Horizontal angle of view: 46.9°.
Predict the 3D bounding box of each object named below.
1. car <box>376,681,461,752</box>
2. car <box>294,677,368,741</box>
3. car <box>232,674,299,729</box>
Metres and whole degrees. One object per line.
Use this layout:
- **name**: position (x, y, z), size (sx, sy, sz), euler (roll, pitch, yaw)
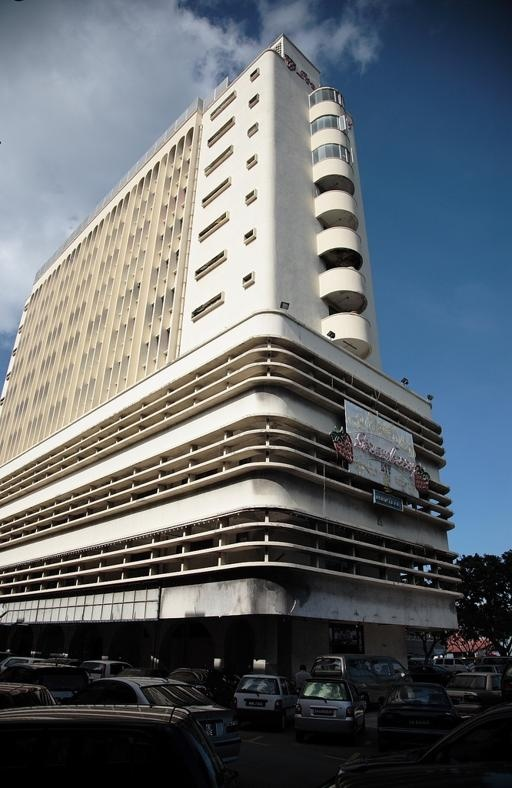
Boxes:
- **car**: position (2.823, 5.820, 10.525), size (1.045, 0.812, 2.398), euler (-2, -21, 8)
- **car**: position (1.612, 7.161, 13.661), size (1.329, 1.205, 2.530), euler (-5, -36, 11)
- **car**: position (0.340, 8.084, 15.708), size (1.342, 1.208, 2.477), euler (-7, -28, 17)
